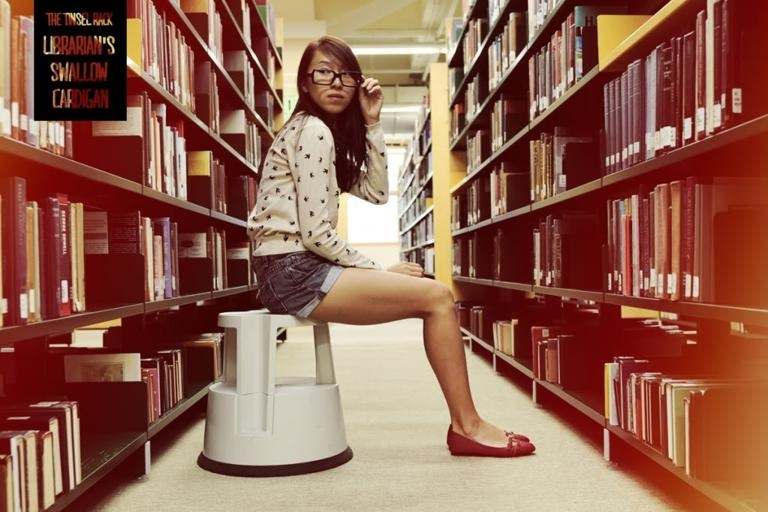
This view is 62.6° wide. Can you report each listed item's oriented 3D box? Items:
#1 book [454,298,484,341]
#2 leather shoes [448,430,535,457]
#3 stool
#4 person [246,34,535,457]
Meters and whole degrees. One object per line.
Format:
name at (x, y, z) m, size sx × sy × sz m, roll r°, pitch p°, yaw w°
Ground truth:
book at (0.627, 0.508, 4.864) m, size 0.216 × 0.416 × 0.234 m, roll 1°, pitch -1°, yaw 0°
leather shoes at (0.392, 0.727, 2.379) m, size 0.210 × 0.085 × 0.144 m, roll -3°, pitch 1°, yaw -5°
stool at (-0.358, 0.474, 2.487) m, size 0.567 × 0.569 × 0.572 m, roll 0°, pitch -1°, yaw 8°
person at (-0.072, -0.045, 2.485) m, size 0.906 × 1.594 × 0.417 m, roll -1°, pitch 0°, yaw -12°
